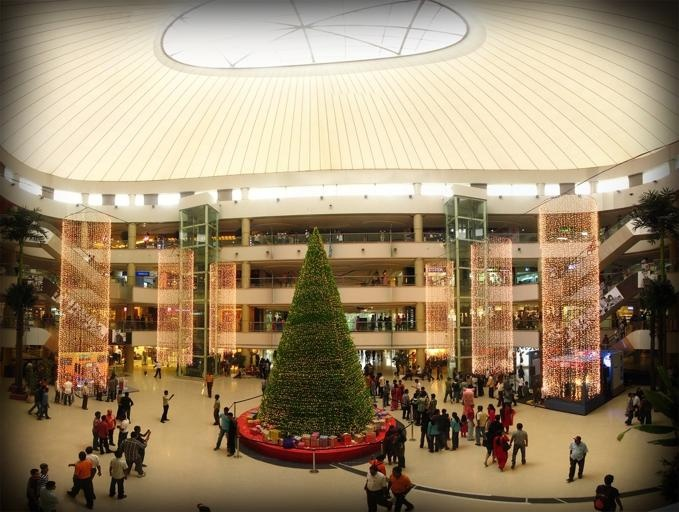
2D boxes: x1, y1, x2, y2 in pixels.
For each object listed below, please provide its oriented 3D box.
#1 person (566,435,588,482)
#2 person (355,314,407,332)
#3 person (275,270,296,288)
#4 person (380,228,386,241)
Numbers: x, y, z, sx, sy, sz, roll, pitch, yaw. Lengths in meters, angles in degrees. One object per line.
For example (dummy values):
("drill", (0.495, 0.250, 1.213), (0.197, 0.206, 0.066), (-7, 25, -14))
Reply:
("person", (8.826, 7.451, 23.071), (0.713, 1.602, 1.481), (-4, -9, 19))
("person", (2.676, 4.461, 39.833), (3.574, 0.797, 0.609), (-1, -9, 0))
("person", (-3.469, 1.618, 41.551), (1.782, 0.815, 1.097), (3, 4, 5))
("person", (2.818, -1.374, 40.584), (0.574, 0.853, 0.336), (0, 6, -11))
